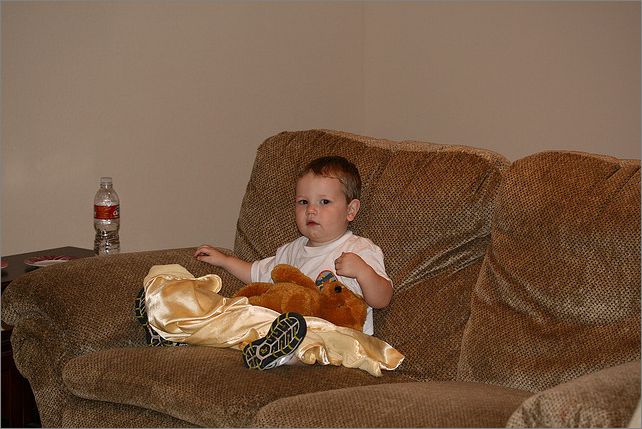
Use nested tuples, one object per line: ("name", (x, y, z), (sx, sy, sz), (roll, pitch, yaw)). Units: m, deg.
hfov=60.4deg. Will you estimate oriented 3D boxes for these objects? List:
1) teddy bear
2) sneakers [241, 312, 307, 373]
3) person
("teddy bear", (-0.059, 0.248, 1.761), (0.363, 0.146, 0.210), (5, -3, -1))
("sneakers", (-0.127, 0.358, 1.533), (0.075, 0.207, 0.106), (43, 11, -52))
("person", (-0.111, 0.233, 1.804), (0.878, 0.605, 0.680), (-6, -12, 43))
